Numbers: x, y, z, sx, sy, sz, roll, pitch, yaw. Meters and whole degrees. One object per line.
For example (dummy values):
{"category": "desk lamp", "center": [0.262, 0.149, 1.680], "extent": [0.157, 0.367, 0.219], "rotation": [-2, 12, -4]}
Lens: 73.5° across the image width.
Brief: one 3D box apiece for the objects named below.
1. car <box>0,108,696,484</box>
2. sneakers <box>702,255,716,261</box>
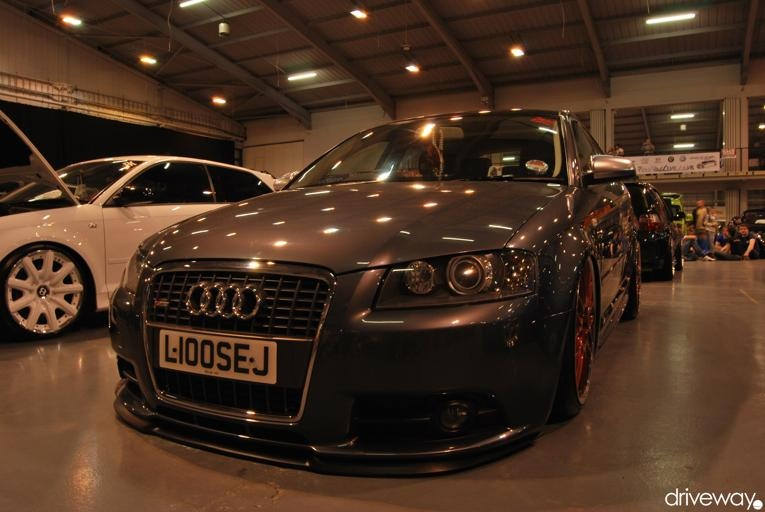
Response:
{"category": "car", "center": [0.544, 0.026, 3.120], "extent": [1.542, 1.017, 3.041], "rotation": [-1, 0, 29]}
{"category": "sneakers", "center": [8.519, 0.036, 13.420], "extent": [0.117, 0.148, 0.341], "rotation": [-11, 5, -41]}
